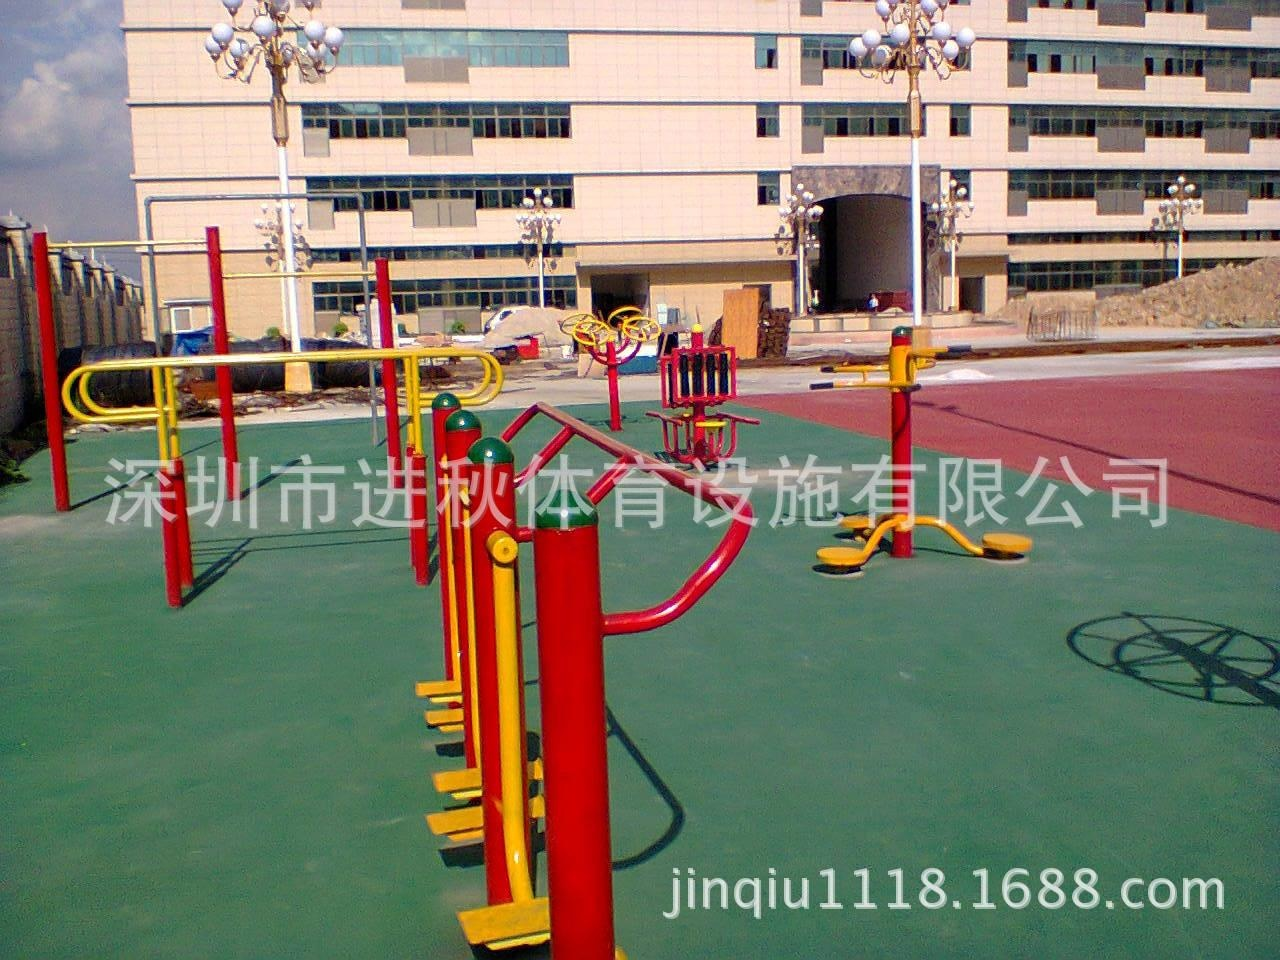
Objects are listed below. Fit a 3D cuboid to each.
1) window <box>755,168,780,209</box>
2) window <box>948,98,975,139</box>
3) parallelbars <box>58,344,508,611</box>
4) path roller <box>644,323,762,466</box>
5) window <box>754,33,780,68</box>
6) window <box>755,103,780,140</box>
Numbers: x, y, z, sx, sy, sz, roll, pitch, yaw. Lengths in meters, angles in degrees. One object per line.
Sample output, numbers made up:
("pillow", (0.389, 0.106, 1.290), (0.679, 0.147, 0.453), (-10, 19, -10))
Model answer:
("window", (4.974, -11.364, 48.912), (1.211, 1.498, 0.997), (0, 0, -3))
("window", (12.742, -14.377, 49.801), (0.980, 2.272, 1.101), (1, -1, 3))
("parallelbars", (-2.308, -0.072, 8.333), (2.930, 2.013, 0.231), (-3, -32, -20))
("path roller", (0.603, -0.800, 12.881), (0.983, 1.662, 1.159), (0, 15, -7))
("window", (4.739, -16.467, 47.716), (1.084, 1.576, 0.140), (0, 1, -8))
("window", (4.875, -14.073, 48.683), (0.890, 1.494, 1.368), (1, 0, 0))
